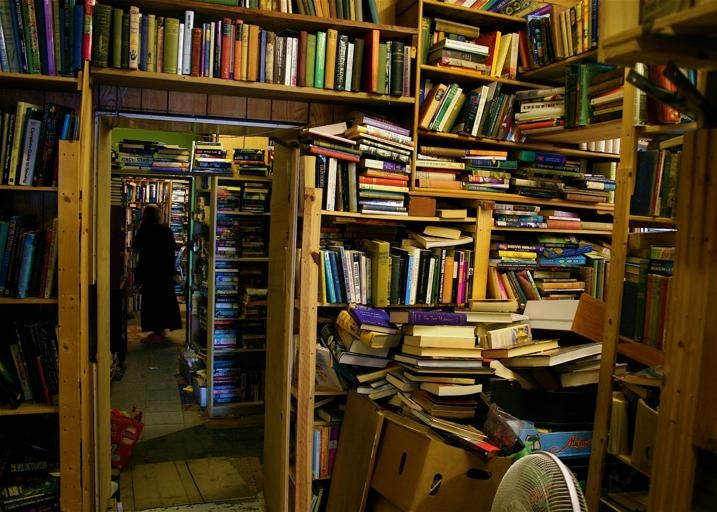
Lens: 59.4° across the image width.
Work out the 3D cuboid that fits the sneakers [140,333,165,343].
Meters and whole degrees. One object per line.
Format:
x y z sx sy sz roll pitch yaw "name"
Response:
-2.646 1.056 8.036 0.311 0.122 0.124 4 -1 -18 "sneakers"
